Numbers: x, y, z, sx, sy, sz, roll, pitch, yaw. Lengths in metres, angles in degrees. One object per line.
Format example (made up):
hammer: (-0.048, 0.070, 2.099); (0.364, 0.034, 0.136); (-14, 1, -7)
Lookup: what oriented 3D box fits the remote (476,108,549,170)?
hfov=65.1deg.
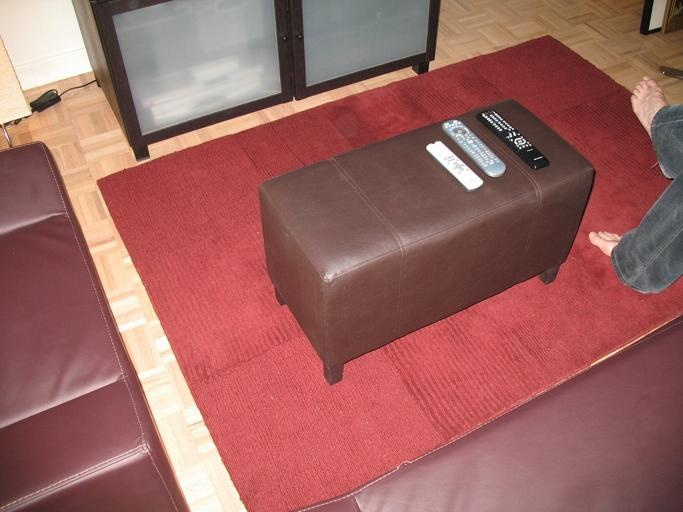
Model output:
remote: (0.539, -0.362, 1.728); (0.094, 0.045, 0.316); (-18, 51, -13)

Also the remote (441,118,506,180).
remote: (0.403, -0.340, 1.665); (0.088, 0.021, 0.294); (-22, 52, -13)

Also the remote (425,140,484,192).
remote: (0.333, -0.270, 1.609); (0.077, 0.032, 0.241); (-24, 55, -15)

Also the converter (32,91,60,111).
converter: (-1.415, -0.731, 2.597); (0.108, 0.039, 0.106); (-38, 71, -14)
